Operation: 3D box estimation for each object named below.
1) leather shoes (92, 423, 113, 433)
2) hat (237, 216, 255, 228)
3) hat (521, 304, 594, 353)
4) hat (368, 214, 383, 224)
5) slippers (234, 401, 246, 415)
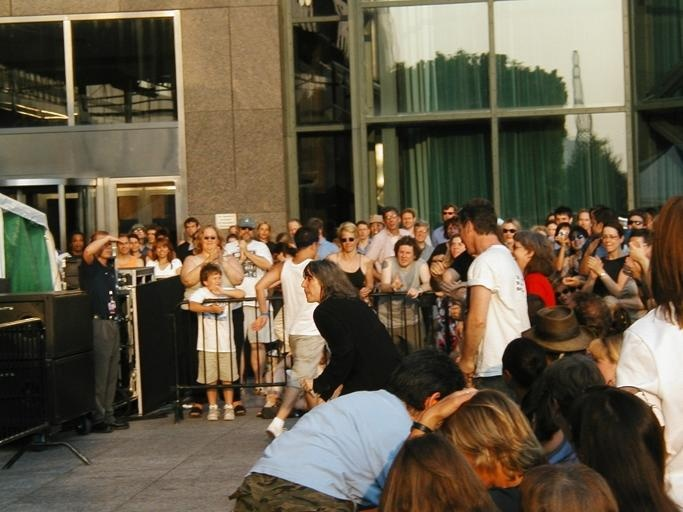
[{"bbox_3d":[-2.958,2.094,10.879,0.169,0.054,0.131,0,2,-2],"label":"leather shoes"},{"bbox_3d":[-1.536,-0.560,14.232,0.360,0.189,0.530,5,1,-7],"label":"hat"},{"bbox_3d":[1.893,0.643,7.877,0.463,0.177,0.395,13,26,41],"label":"hat"},{"bbox_3d":[0.533,-0.628,14.626,0.274,0.122,0.367,0,1,3],"label":"hat"},{"bbox_3d":[-1.363,1.998,11.707,0.109,0.127,0.299,-1,-8,-11],"label":"slippers"}]
